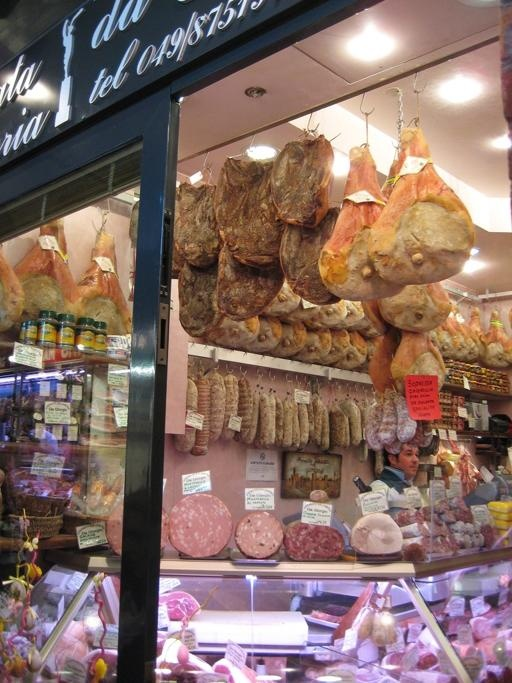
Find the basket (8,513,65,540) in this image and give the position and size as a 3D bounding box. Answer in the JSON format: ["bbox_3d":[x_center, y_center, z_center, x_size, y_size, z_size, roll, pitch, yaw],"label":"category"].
[{"bbox_3d":[-0.590,0.505,1.459,0.166,0.056,0.140,-6,-15,28],"label":"basket"}]
